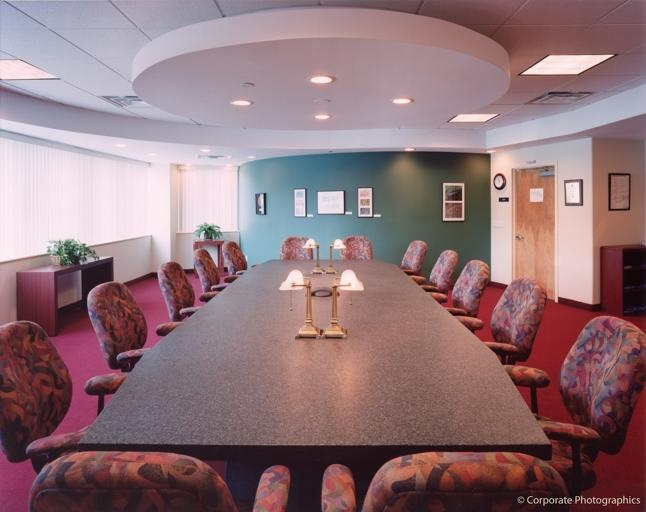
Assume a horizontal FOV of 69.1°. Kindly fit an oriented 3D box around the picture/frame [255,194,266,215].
[{"bbox_3d":[-1.274,-1.073,9.553,0.043,0.483,0.358,-5,8,-32],"label":"picture/frame"}]

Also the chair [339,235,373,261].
[{"bbox_3d":[0.493,-0.113,7.021,0.335,0.508,0.394,-1,-4,0],"label":"chair"}]

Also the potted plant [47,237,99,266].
[{"bbox_3d":[-3.486,-0.047,6.503,0.361,0.289,0.585,1,1,-17],"label":"potted plant"}]

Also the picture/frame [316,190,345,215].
[{"bbox_3d":[0.155,-1.009,8.713,0.409,0.390,0.045,1,9,15],"label":"picture/frame"}]

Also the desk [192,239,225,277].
[{"bbox_3d":[-2.329,0.046,10.415,0.594,0.706,0.630,3,3,-8],"label":"desk"}]

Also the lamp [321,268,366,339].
[{"bbox_3d":[0.103,0.297,3.110,0.357,0.591,0.315,-1,2,1],"label":"lamp"}]

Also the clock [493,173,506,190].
[{"bbox_3d":[3.182,-1.335,8.461,0.052,0.308,0.314,-3,6,-17],"label":"clock"}]

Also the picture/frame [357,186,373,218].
[{"bbox_3d":[0.762,-0.988,8.583,0.288,0.530,0.047,0,6,13],"label":"picture/frame"}]
